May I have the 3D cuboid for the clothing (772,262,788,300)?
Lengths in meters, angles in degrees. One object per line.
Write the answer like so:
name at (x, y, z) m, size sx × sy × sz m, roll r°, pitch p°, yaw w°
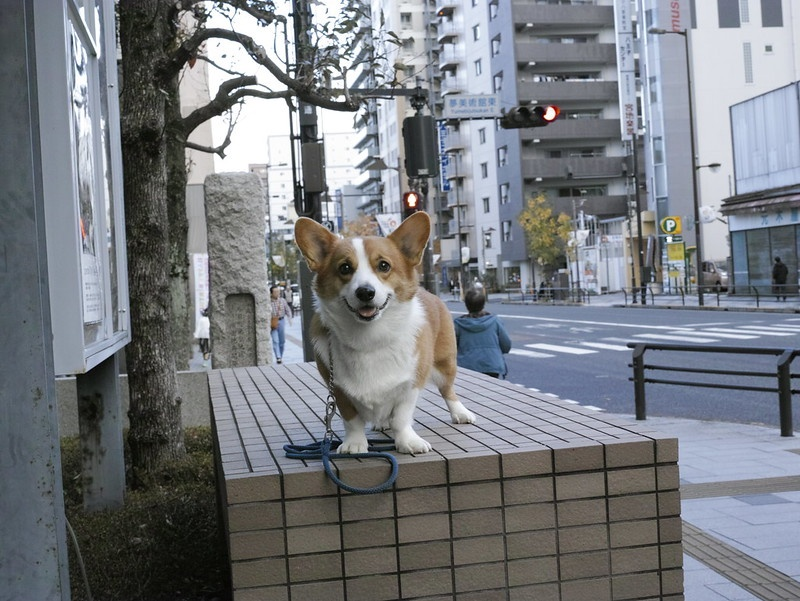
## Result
clothing at (13.041, -0.824, 28.417) m, size 0.463 × 1.282 × 0.405 m, roll -5°, pitch -2°, yaw 27°

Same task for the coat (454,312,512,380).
coat at (0.824, 0.440, 8.458) m, size 0.569 × 0.663 × 0.414 m, roll -4°, pitch -4°, yaw 14°

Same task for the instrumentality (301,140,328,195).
instrumentality at (-1.140, -1.749, 10.868) m, size 0.303 × 0.691 × 0.356 m, roll -2°, pitch 2°, yaw -7°

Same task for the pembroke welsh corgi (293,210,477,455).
pembroke welsh corgi at (-0.049, 0.140, 4.362) m, size 0.617 × 1.198 × 0.854 m, roll 0°, pitch 2°, yaw 34°

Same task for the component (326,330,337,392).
component at (-0.353, 0.303, 4.172) m, size 0.036 × 0.343 × 0.123 m, roll -2°, pitch 2°, yaw -5°

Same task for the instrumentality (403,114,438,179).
instrumentality at (0.282, -2.202, 11.687) m, size 0.461 × 0.867 × 0.757 m, roll -1°, pitch 2°, yaw 0°
